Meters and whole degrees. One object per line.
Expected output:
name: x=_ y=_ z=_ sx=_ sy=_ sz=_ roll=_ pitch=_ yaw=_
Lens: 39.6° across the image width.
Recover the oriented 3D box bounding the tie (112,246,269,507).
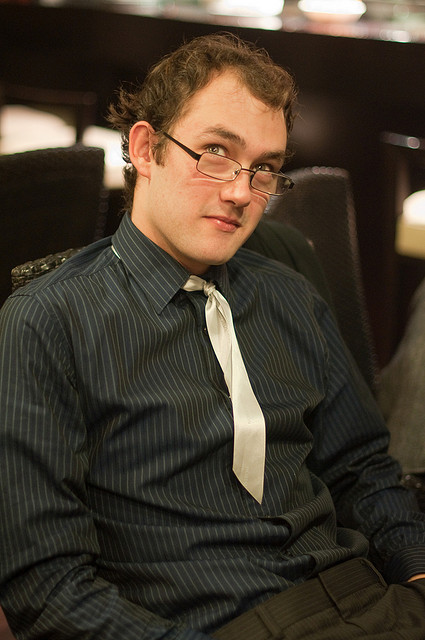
tie: x=0.022 y=0.077 z=1.105 sx=0.131 sy=0.445 sz=0.037 roll=-10 pitch=-27 yaw=-13
